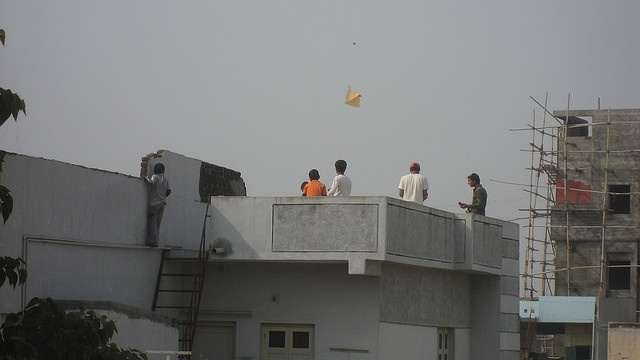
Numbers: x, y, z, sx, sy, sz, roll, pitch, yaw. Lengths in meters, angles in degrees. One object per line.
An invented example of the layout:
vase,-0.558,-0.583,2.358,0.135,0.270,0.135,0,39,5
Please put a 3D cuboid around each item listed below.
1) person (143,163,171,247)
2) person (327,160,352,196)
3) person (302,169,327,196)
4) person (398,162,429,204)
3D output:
person,-6.475,0.977,49.367,0.908,3.200,1.025,2,-15,0
person,0.766,-0.079,49.029,0.805,1.307,1.040,2,-15,0
person,-0.221,0.425,49.743,0.932,1.640,0.868,-1,16,-4
person,3.774,0.148,50.123,1.017,1.563,0.566,3,-15,-7
